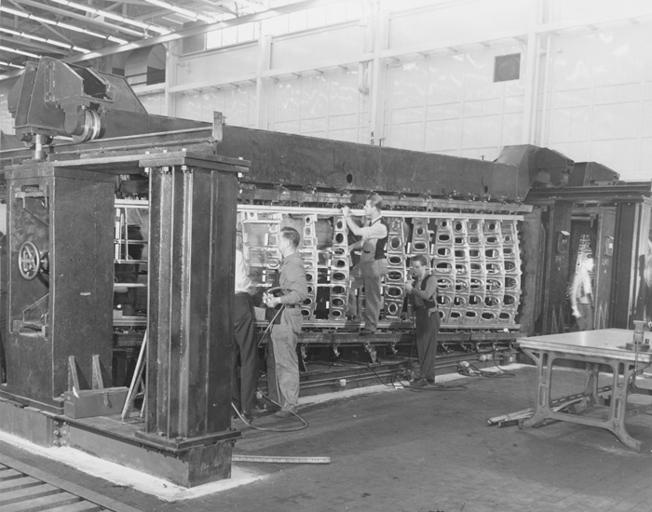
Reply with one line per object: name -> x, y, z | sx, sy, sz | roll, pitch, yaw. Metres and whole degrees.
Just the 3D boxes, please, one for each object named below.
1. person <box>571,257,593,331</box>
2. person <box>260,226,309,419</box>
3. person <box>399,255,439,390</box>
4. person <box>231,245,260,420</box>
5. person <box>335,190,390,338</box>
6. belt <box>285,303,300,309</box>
person -> 5.517, 0.780, 19.078 | 0.496, 1.553, 0.449 | 4, 9, 10
person -> -0.636, 0.980, 13.721 | 0.646, 2.813, 0.713 | 1, 9, -4
person -> 1.743, 1.178, 16.017 | 0.510, 2.260, 0.622 | -2, 10, -24
person -> -1.198, 1.213, 13.438 | 0.346, 2.487, 0.705 | 1, 9, -4
person -> 0.712, 0.129, 16.074 | 0.790, 2.487, 1.281 | 2, 9, 2
belt -> -0.481, 0.760, 13.543 | 0.263, 0.087, 0.094 | -5, 12, -40
